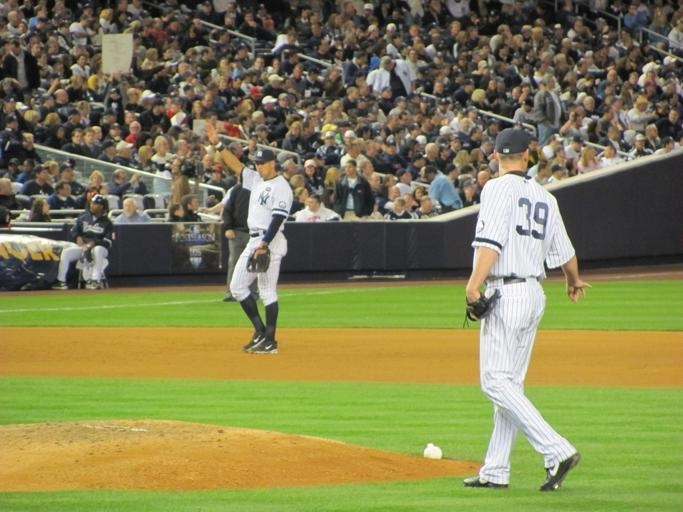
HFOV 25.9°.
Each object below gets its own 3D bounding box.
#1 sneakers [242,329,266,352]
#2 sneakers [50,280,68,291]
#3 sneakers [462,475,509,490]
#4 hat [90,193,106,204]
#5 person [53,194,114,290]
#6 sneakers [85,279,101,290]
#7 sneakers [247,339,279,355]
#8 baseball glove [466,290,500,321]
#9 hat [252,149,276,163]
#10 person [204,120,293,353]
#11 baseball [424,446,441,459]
[{"bbox_3d":[-1.165,1.154,19.879,0.152,0.177,0.446,3,20,39],"label":"sneakers"},{"bbox_3d":[-4.856,0.517,25.529,0.316,0.138,0.125,3,6,2],"label":"sneakers"},{"bbox_3d":[1.527,2.404,15.726,0.507,0.188,0.162,3,-1,5],"label":"sneakers"},{"bbox_3d":[-4.120,-0.967,25.060,0.195,0.138,0.142,21,5,-21],"label":"hat"},{"bbox_3d":[-4.392,-0.229,25.342,0.955,1.728,0.499,0,12,-9],"label":"person"},{"bbox_3d":[-4.315,0.511,25.691,0.260,0.157,0.147,-3,9,-5],"label":"sneakers"},{"bbox_3d":[-1.048,1.229,19.766,0.420,0.166,0.163,0,4,-1],"label":"sneakers"},{"bbox_3d":[1.497,0.525,15.760,0.368,0.167,0.278,-42,15,-10],"label":"baseball glove"},{"bbox_3d":[-1.037,-1.334,19.600,0.252,0.118,0.167,0,5,-31],"label":"hat"},{"bbox_3d":[-1.109,-0.090,20.087,0.799,2.816,1.393,1,12,-4],"label":"person"},{"bbox_3d":[1.011,2.168,16.423,0.216,0.146,0.298,2,11,3],"label":"baseball"}]
